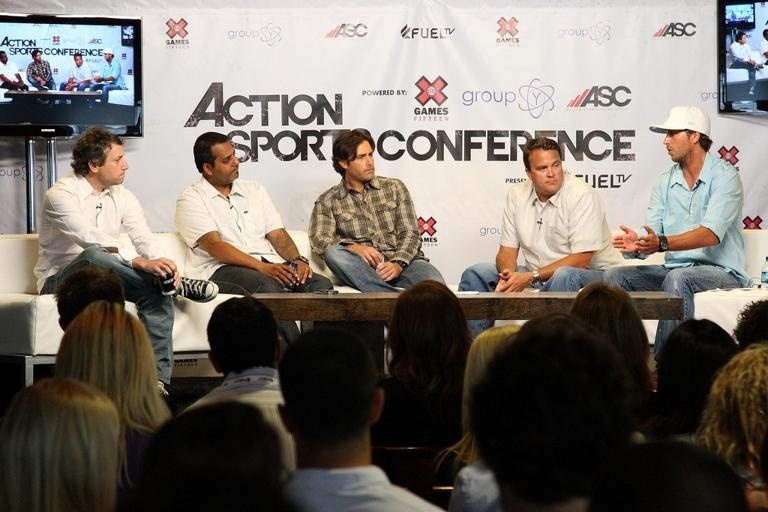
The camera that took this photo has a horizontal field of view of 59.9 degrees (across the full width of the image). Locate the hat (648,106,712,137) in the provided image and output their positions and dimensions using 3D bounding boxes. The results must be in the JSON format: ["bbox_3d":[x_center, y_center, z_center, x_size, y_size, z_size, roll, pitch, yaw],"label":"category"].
[{"bbox_3d":[1.686,-0.755,3.775,0.324,0.170,0.229,-1,3,4],"label":"hat"}]

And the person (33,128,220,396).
[{"bbox_3d":[-1.433,0.016,3.545,0.854,1.307,0.676,5,5,22],"label":"person"}]

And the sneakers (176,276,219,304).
[{"bbox_3d":[-0.964,0.169,3.368,0.248,0.091,0.101,2,-17,9],"label":"sneakers"}]

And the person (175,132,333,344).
[{"bbox_3d":[-0.696,-0.020,3.894,1.111,1.506,0.609,-2,1,39],"label":"person"}]
